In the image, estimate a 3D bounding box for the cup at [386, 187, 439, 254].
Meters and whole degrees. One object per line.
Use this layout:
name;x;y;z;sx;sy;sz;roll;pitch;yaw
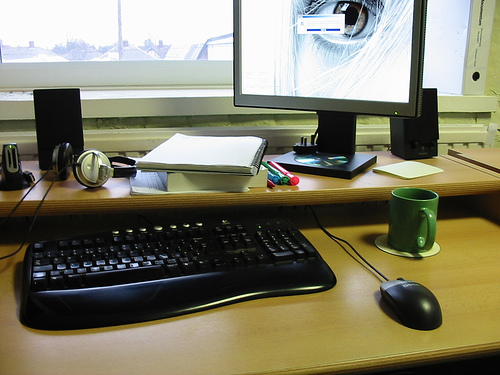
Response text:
cup;0.345;0.070;0.780;0.097;0.126;0.090;-2;17;1

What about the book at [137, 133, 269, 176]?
book;-0.118;-0.080;0.888;0.341;0.026;0.394;4;18;10

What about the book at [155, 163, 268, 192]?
book;-0.076;-0.017;0.829;0.237;0.055;0.031;-4;17;-6

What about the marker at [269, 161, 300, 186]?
marker;0.087;-0.037;0.941;0.031;0.021;0.125;-21;26;-11

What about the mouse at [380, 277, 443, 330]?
mouse;0.274;0.185;0.633;0.081;0.047;0.138;-7;9;0

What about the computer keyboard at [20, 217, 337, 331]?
computer keyboard;-0.138;0.142;0.704;0.533;0.061;0.280;-4;21;-21

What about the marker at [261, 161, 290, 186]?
marker;0.067;-0.033;0.876;0.029;0.021;0.124;-18;39;-29
